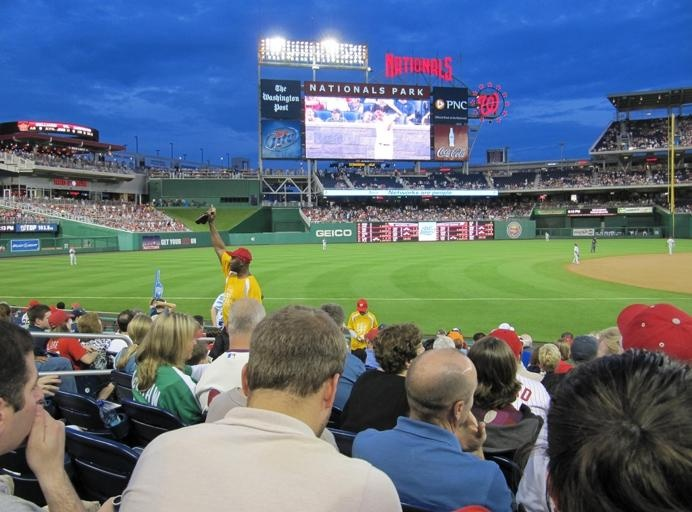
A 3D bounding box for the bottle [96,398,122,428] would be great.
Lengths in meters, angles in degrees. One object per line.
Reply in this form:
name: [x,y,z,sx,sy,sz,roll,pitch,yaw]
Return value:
bottle: [-2.066,1.349,6.357,0.128,0.259,0.209,-44,-21,24]
